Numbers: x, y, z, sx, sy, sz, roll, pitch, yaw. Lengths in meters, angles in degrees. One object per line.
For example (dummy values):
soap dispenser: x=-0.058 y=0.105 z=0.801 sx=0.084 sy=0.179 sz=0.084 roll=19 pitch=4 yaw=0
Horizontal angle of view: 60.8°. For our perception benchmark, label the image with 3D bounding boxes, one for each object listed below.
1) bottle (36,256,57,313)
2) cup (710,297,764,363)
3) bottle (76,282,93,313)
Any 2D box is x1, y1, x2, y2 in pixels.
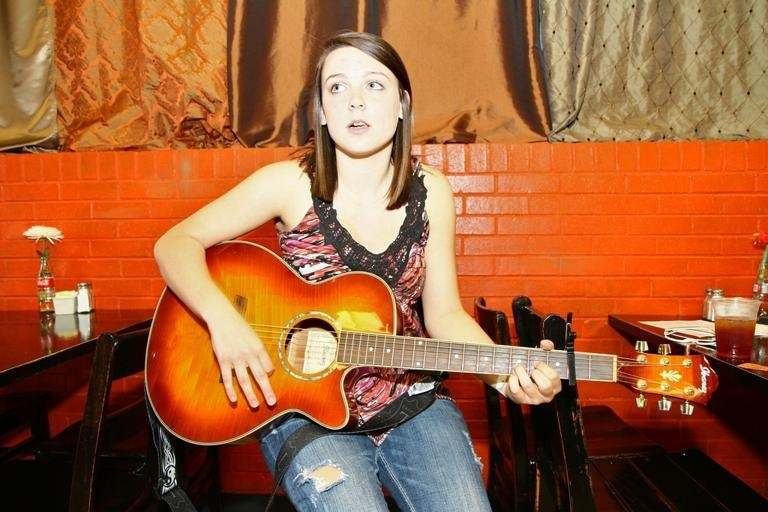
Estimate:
bottle: x=-1.675 y=0.129 z=3.228 sx=0.077 sy=0.272 sz=0.296 roll=-6 pitch=7 yaw=-28
cup: x=1.346 y=0.266 z=2.552 sx=0.223 sy=0.274 sz=0.206 roll=2 pitch=3 yaw=0
bottle: x=-1.457 y=0.199 z=3.185 sx=0.061 sy=0.143 sz=0.104 roll=-3 pitch=6 yaw=-4
